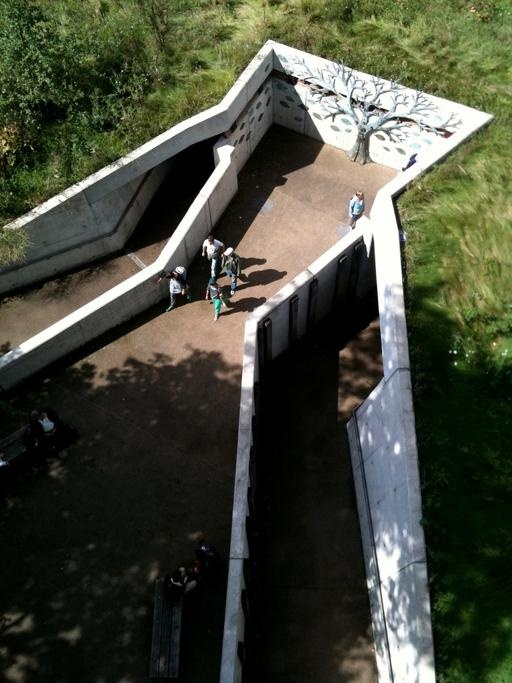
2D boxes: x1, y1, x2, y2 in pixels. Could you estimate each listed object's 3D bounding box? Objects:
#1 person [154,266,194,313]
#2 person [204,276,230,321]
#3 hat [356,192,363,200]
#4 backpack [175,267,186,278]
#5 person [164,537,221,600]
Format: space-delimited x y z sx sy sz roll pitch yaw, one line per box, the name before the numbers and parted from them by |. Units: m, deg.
person | -1.998 -1.295 16.592 0.839 1.351 0.560 -11 46 -23
person | -0.965 -1.068 16.442 0.413 1.089 0.348 14 35 22
hat | 2.590 -3.666 16.729 0.112 0.210 0.179 -14 26 -34
backpack | -1.821 -1.712 16.166 0.227 0.095 0.333 40 29 -19
person | -1.243 4.492 13.024 0.422 0.666 1.502 12 40 22
